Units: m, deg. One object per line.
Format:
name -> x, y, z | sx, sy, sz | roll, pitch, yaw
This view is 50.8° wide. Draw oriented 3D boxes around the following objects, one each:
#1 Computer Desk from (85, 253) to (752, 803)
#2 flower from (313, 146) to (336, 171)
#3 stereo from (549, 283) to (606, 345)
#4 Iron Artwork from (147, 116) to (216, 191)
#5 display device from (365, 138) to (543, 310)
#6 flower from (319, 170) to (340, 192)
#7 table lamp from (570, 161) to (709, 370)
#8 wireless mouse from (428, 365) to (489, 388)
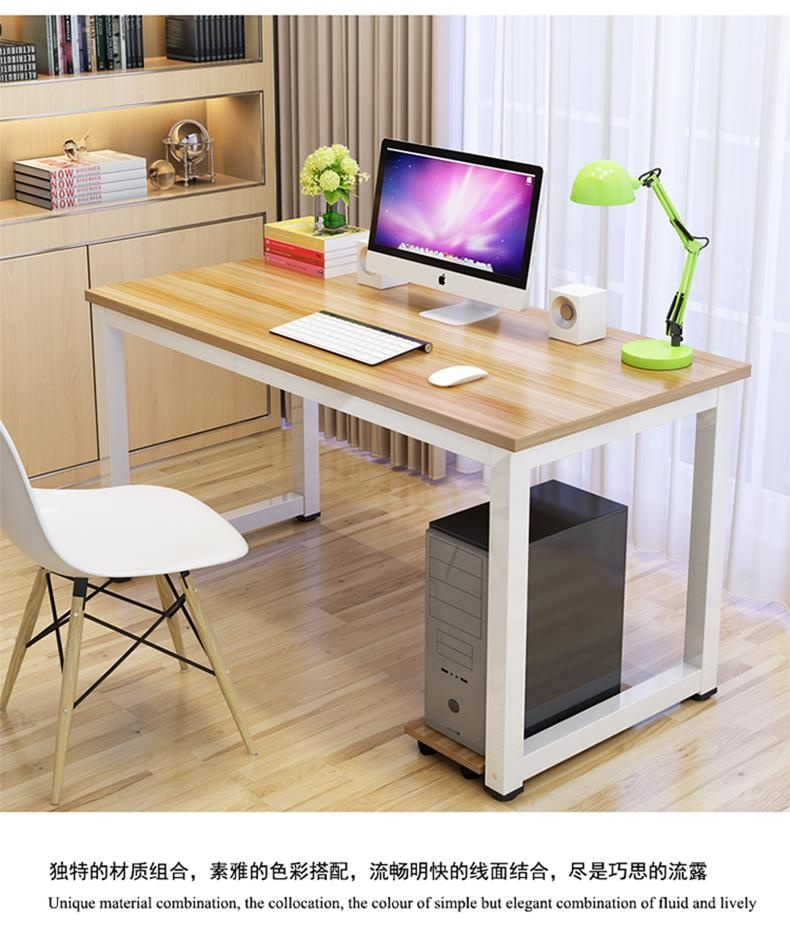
Computer Desk -> 0.089, 0.143, 1.888 | 0.583, 0.590, 1.155 | -18, 27, -39
flower -> -0.195, -0.850, 2.309 | 0.056, 0.063, 0.051 | -1, 15, -5
stereo -> 0.386, -0.348, 1.842 | 0.134, 0.138, 0.134 | -15, 23, -36
Iron Artwork -> -0.841, -1.220, 3.240 | 0.297, 0.293, 0.226 | -18, 30, -37
display device -> 0.139, -0.571, 2.002 | 0.172, 0.438, 0.580 | -22, 36, -38
flower -> -0.178, -0.780, 2.281 | 0.056, 0.051, 0.055 | 0, -7, 34
table lamp -> 0.499, -0.415, 1.709 | 0.262, 0.399, 0.338 | 6, 15, 19
wireless mouse -> 0.112, -0.178, 1.549 | 0.091, 0.021, 0.049 | -16, 26, -38
